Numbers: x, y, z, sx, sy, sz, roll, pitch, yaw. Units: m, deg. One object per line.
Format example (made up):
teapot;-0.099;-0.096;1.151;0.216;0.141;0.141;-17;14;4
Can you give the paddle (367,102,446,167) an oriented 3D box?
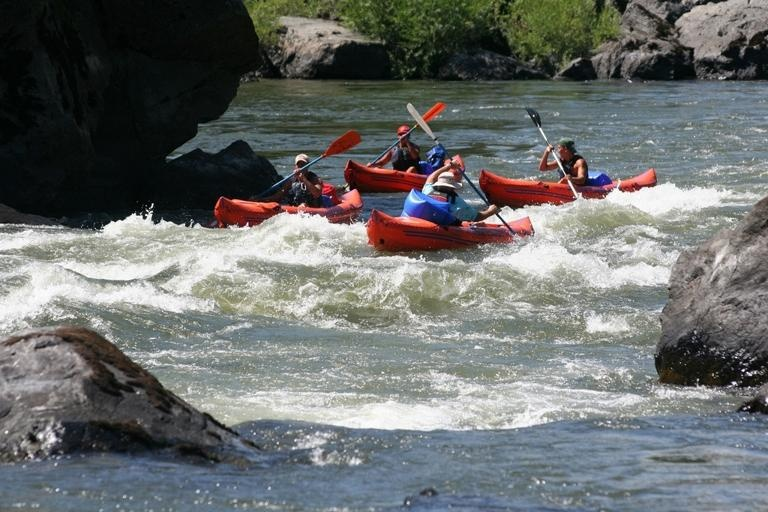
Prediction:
paddle;0.663;-2.798;33.111;2.121;0.237;0.090;-37;22;49

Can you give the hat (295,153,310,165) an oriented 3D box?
hat;-1.571;-1.844;28.705;0.389;0.193;0.548;1;2;2

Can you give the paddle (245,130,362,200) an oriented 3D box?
paddle;-1.719;-1.913;32.099;3.608;0.453;0.203;-31;31;-15
